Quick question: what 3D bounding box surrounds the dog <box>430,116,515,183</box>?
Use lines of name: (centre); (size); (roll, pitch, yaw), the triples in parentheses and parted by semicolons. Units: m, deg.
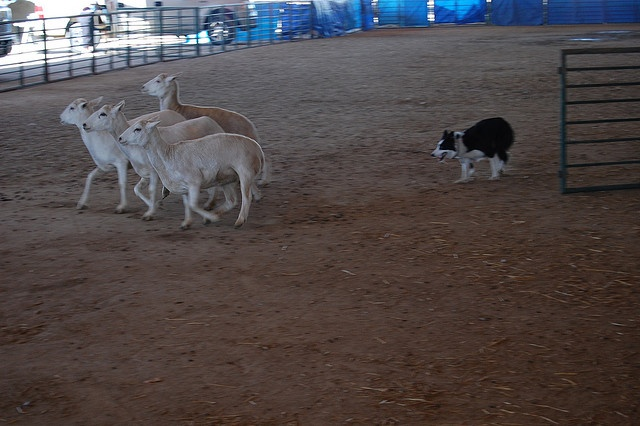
dog: (2.194, -0.863, 7.087); (1.109, 0.881, 0.414); (-9, 21, -20)
